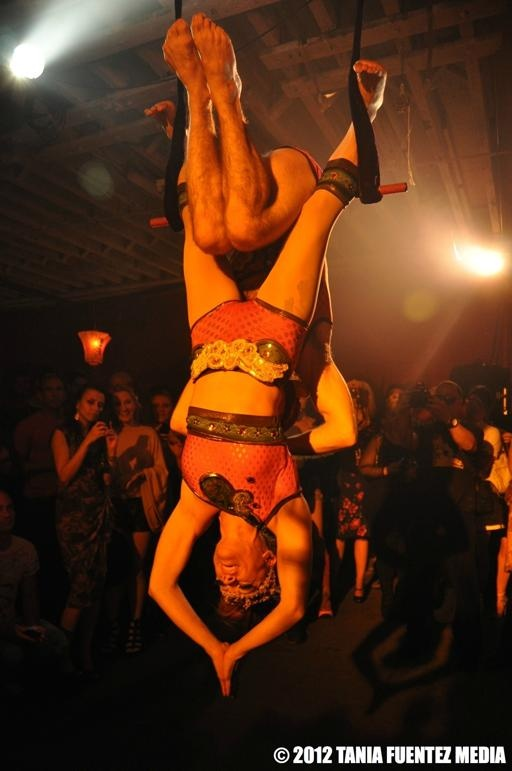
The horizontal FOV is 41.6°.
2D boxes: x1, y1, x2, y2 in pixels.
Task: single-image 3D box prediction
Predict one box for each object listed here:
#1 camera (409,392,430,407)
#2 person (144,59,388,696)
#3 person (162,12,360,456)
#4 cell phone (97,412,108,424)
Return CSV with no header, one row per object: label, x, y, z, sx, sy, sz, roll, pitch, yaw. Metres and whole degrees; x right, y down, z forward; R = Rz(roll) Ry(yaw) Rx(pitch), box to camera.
camera,1.062,0.090,4.425,0.105,0.092,0.025,5,-4,26
person,0.032,-0.027,1.956,0.711,1.642,0.297,3,-5,11
person,0.000,-0.361,1.907,0.411,1.263,0.423,2,15,34
cell phone,-1.065,0.222,4.733,0.071,0.087,0.028,-5,1,-7
